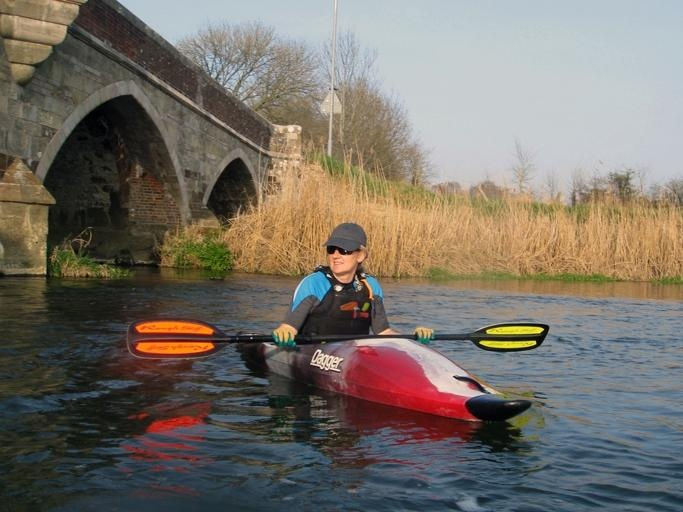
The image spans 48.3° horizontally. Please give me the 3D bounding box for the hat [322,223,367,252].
[{"bbox_3d":[0.033,-0.160,6.316,0.275,0.138,0.328,2,-4,27],"label":"hat"}]

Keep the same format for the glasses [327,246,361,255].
[{"bbox_3d":[-0.016,-0.057,6.289,0.280,0.078,0.170,5,12,16],"label":"glasses"}]

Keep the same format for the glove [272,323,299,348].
[{"bbox_3d":[-0.471,0.631,6.158,0.193,0.081,0.207,7,10,-15],"label":"glove"}]

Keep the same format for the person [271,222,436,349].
[{"bbox_3d":[-0.002,0.305,6.313,1.460,0.968,0.872,-10,22,-31],"label":"person"}]
